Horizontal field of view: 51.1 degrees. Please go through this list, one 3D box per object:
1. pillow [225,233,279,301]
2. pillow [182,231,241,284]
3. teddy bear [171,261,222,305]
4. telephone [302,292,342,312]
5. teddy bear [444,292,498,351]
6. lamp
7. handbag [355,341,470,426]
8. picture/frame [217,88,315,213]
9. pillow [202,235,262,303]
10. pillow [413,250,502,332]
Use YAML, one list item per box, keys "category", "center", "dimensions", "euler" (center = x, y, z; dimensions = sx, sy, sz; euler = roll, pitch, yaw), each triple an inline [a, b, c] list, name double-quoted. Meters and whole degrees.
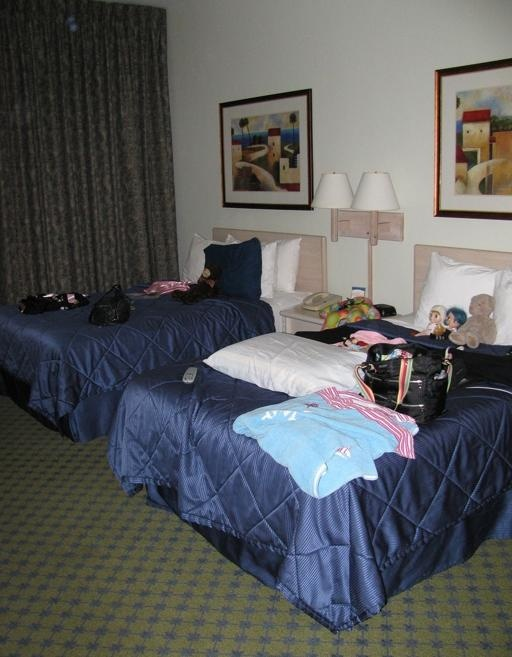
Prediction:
- category: "pillow"
  center: [0.006, -0.489, 4.285]
  dimensions: [0.463, 0.459, 0.209]
  euler: [2, 2, 44]
- category: "pillow"
  center: [-0.444, -0.654, 4.959]
  dimensions: [0.486, 0.520, 0.163]
  euler: [15, -6, 24]
- category: "teddy bear"
  center: [-0.426, -0.323, 4.024]
  dimensions: [0.361, 0.339, 0.224]
  euler: [-8, 2, -27]
- category: "telephone"
  center: [0.493, -0.207, 3.955]
  dimensions: [0.142, 0.087, 0.252]
  euler: [12, 21, 41]
- category: "teddy bear"
  center: [1.088, -0.028, 2.661]
  dimensions: [0.253, 0.288, 0.189]
  euler: [-23, 29, -21]
- category: "lamp"
  center: [0.704, -0.826, 3.736]
  dimensions: [0.601, 0.472, 0.362]
  euler: [11, 21, 33]
- category: "handbag"
  center: [0.598, 0.165, 1.967]
  dimensions: [0.280, 0.145, 0.356]
  euler: [0, 9, 39]
- category: "picture/frame"
  center: [0.079, -1.503, 4.631]
  dimensions: [0.026, 0.920, 1.169]
  euler: [-16, 22, -38]
- category: "pillow"
  center: [-0.181, -0.475, 4.327]
  dimensions: [0.571, 0.519, 0.210]
  euler: [12, 22, 40]
- category: "pillow"
  center: [1.108, -0.215, 3.001]
  dimensions: [0.430, 0.408, 0.130]
  euler: [17, 2, 44]
